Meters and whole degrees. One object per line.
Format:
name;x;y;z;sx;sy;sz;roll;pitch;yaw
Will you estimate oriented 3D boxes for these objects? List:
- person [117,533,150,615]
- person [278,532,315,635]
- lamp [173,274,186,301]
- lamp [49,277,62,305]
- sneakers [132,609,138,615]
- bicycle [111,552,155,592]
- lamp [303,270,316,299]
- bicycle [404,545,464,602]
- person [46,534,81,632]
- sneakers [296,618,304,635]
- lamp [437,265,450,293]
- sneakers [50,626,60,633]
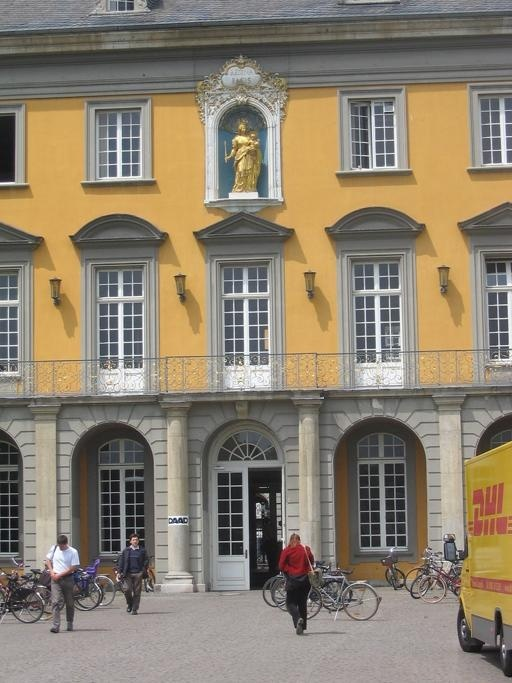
person;-2.144;3.967;26.540;0.508;1.326;0.826;-2;-8;4
person;0.661;3.608;23.001;0.522;1.193;0.953;-1;-8;-6
lamp;-1.544;-1.103;31.711;0.257;0.620;0.414;-1;-8;-2
lamp;-4.145;-1.003;31.942;0.237;0.528;0.331;0;-8;-9
sneakers;-2.043;4.540;26.130;0.067;0.129;0.071;0;-5;9
bicycle;-2.378;4.495;29.835;0.633;0.959;1.557;0;-2;0
lamp;1.123;-1.127;31.512;0.237;0.536;0.348;-2;-8;3
bicycle;3.572;4.286;28.085;1.466;0.952;0.737;3;-11;-19
person;-3.034;3.748;24.217;0.479;1.494;1.714;0;-8;-8
sneakers;0.651;4.096;22.419;0.076;0.231;0.100;-1;-5;-7
lamp;3.851;-1.216;31.338;0.246;0.535;0.403;-3;-8;7
sneakers;-3.061;4.329;23.421;0.132;0.141;0.077;6;-10;2
